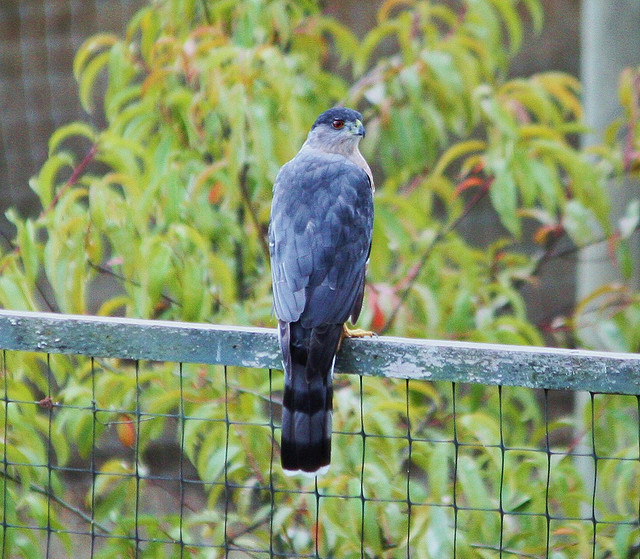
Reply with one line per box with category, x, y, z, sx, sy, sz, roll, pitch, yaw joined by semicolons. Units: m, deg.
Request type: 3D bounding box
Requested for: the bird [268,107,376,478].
bird;-0.010;0.001;6.527;0.379;1.444;0.774;-1;-9;5
